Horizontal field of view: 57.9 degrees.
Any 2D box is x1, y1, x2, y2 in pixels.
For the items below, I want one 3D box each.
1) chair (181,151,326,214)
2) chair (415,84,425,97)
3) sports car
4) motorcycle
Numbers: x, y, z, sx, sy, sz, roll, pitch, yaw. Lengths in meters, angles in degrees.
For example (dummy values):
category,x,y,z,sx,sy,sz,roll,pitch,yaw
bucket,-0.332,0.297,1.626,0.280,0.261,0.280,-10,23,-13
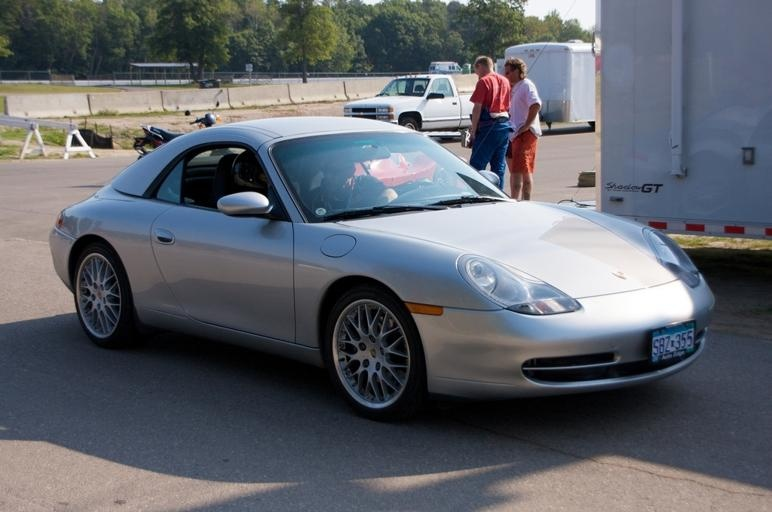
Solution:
category,x,y,z,sx,sy,sz,roll,pitch,yaw
chair,-1.193,-0.609,6.227,1.079,0.703,0.362,3,-15,20
chair,1.160,-6.000,25.414,0.382,0.449,0.463,3,7,1
sports car,-0.156,0.000,5.547,4.996,1.978,1.536,6,16,27
motorcycle,-4.723,-2.727,16.534,2.349,1.377,1.143,-4,7,-18
